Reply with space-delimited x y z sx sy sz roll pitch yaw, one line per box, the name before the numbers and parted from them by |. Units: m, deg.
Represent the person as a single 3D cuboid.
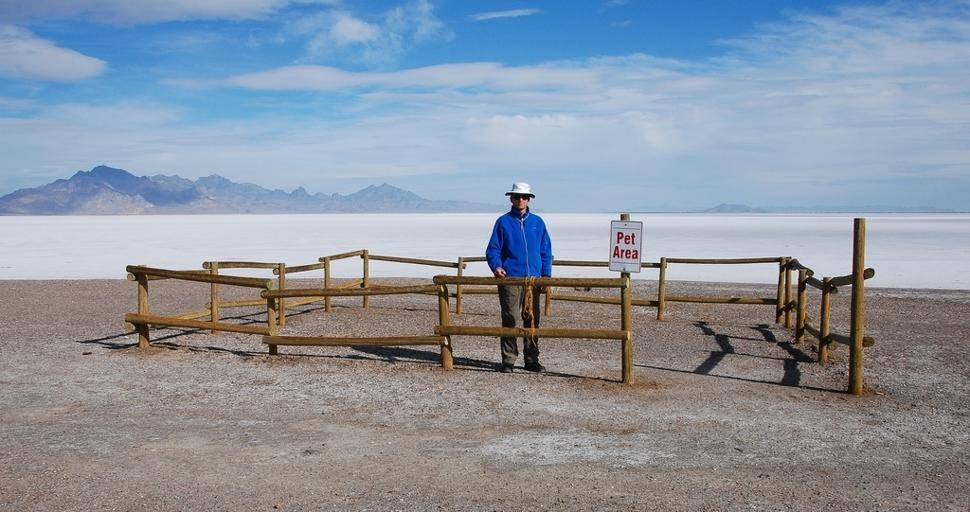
person | 0.582 0.369 13.008 1.117 3.288 1.005 1 13 2
